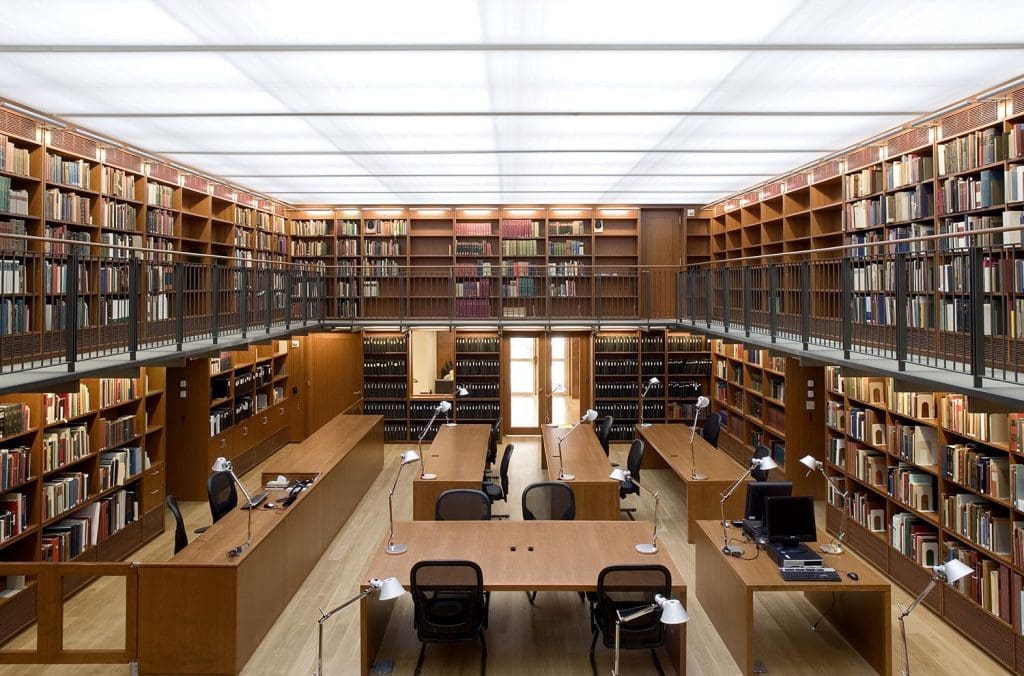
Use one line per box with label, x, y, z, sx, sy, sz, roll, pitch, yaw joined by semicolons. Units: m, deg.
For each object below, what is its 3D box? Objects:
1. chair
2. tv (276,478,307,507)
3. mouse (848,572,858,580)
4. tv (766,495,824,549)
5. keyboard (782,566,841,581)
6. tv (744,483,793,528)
chair;0.347;2.920;8.317;3.893;1.319;1.639;0;0;1
tv;-2.938;2.049;9.506;0.300;0.170;0.931;1;0;-7
mouse;3.651;2.539;7.722;0.112;0.068;0.147;0;0;21
tv;3.196;2.113;8.256;0.755;0.775;0.320;0;-7;-1
keyboard;3.198;2.528;7.723;0.615;0.123;0.172;0;0;8
tv;2.999;1.950;8.410;0.513;0.483;0.265;4;-1;-3
